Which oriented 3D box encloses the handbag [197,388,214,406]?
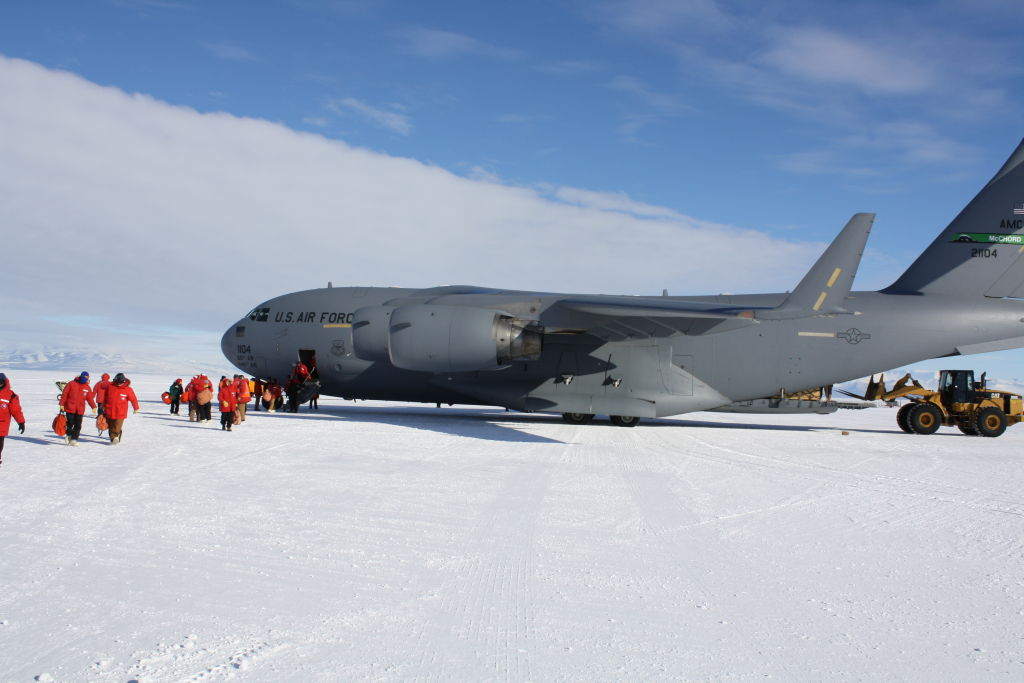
[{"bbox_3d":[-7.287,1.342,17.018,0.269,0.428,0.565,-1,13,-10],"label":"handbag"}]

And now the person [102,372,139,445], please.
[{"bbox_3d":[-7.444,1.281,13.607,0.605,1.448,1.296,-7,16,-29],"label":"person"}]
